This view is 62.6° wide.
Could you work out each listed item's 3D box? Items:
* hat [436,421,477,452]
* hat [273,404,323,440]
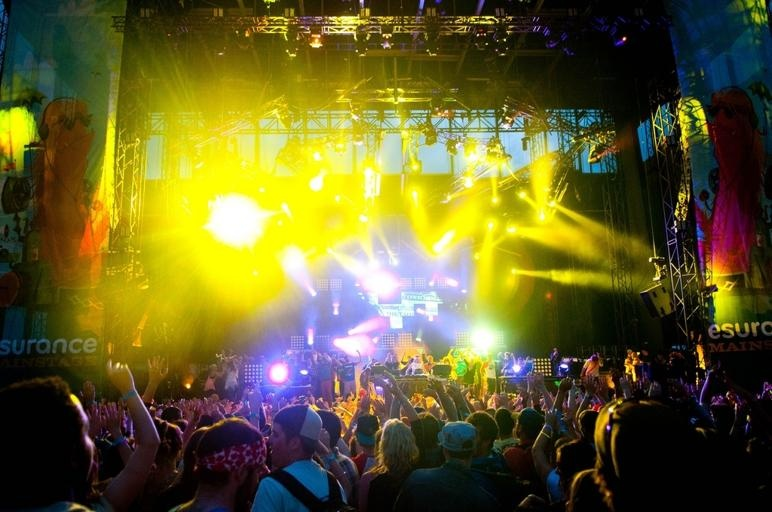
[{"bbox_3d":[0.932,2.346,8.261,0.560,0.289,0.759,0,2,0],"label":"hat"},{"bbox_3d":[-1.117,2.121,8.061,0.539,0.447,0.380,-3,2,-3],"label":"hat"}]
